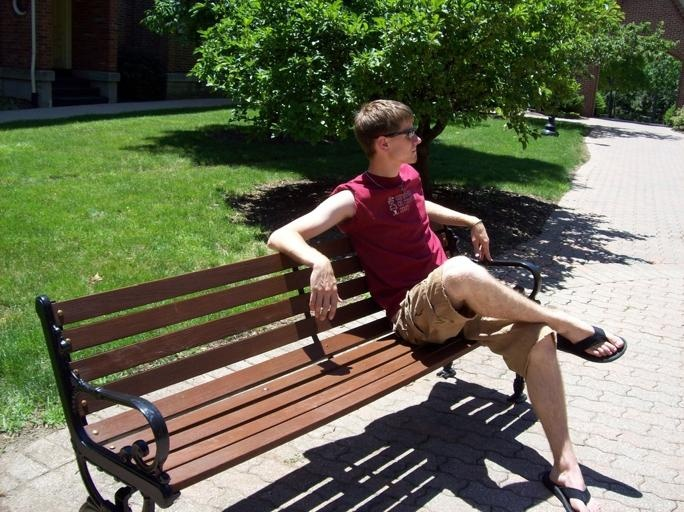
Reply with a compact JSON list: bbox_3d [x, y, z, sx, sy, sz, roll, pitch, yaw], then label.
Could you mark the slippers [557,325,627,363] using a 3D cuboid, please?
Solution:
[{"bbox_3d":[1.379,0.527,3.046,0.471,0.099,0.159,8,58,29],"label":"slippers"}]
